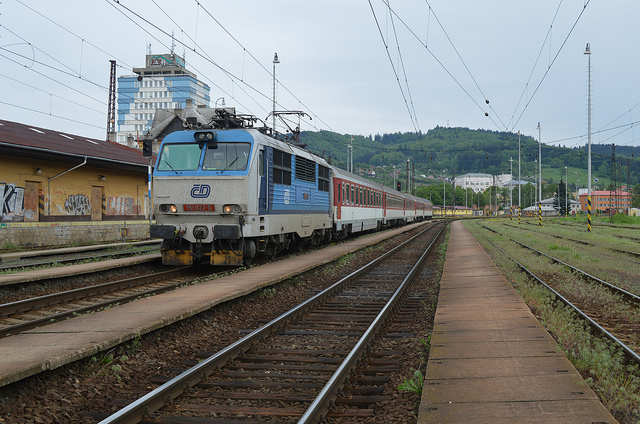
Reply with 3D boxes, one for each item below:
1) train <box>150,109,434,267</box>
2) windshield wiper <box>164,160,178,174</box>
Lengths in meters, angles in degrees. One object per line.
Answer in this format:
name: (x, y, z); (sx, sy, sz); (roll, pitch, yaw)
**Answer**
train: (1.958, -0.473, 28.160); (3.694, 5.090, 30.239); (-7, -4, 24)
windshield wiper: (-4.569, -1.378, 15.058); (0.070, 0.528, 0.058); (-37, -9, -17)
